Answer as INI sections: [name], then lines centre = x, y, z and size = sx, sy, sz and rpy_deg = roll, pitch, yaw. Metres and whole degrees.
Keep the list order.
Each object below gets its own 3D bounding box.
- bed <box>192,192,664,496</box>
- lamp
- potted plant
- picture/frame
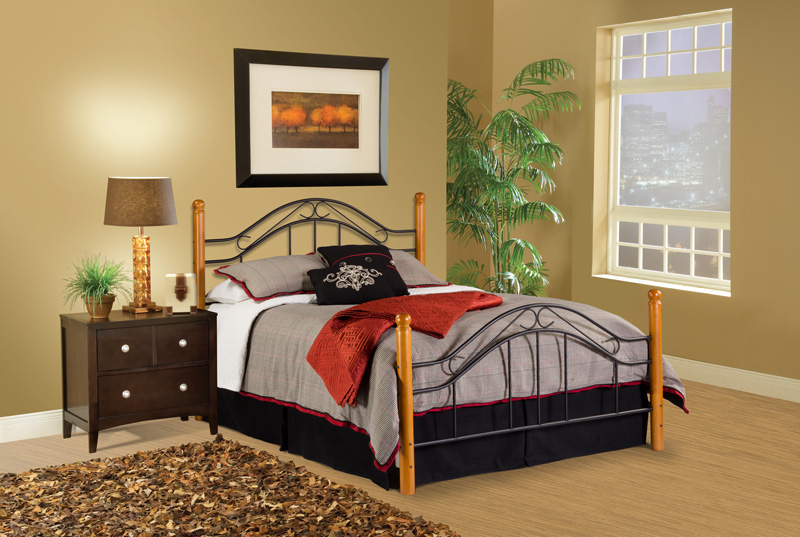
[bed]
centre = -0.039, 0.397, 4.934
size = 2.323, 1.354, 2.796
rpy_deg = -2, 5, -35
[lamp]
centre = -1.731, -0.166, 4.543
size = 0.432, 0.893, 0.387
rpy_deg = 0, 8, -1
[potted plant]
centre = -2.005, 0.109, 4.528
size = 0.462, 0.358, 0.452
rpy_deg = 1, -1, -42
[picture/frame]
centre = -0.759, -1.202, 5.288
size = 1.345, 0.971, 0.095
rpy_deg = -1, 3, -26
